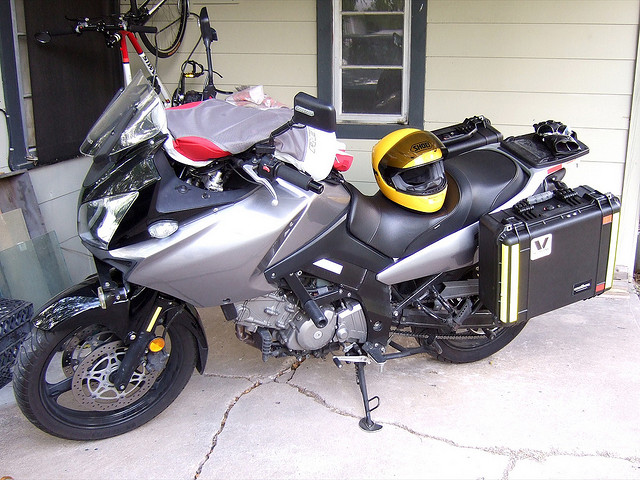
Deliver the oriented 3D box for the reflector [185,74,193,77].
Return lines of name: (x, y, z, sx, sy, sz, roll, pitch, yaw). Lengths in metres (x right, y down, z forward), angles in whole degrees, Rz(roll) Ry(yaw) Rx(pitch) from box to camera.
reflector: (-1.129, -1.424, 4.110, 0.070, 0.022, 0.022, 1, 7, -3)

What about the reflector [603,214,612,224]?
reflector: (1.596, -0.123, 2.639, 0.046, 0.034, 0.006, -19, 31, -12)

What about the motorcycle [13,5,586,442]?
motorcycle: (-0.174, 0.115, 2.641, 2.877, 1.945, 1.255, -9, 24, -23)

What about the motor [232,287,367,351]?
motor: (-0.060, 0.495, 2.686, 0.863, 0.434, 0.252, 3, -11, -22)
